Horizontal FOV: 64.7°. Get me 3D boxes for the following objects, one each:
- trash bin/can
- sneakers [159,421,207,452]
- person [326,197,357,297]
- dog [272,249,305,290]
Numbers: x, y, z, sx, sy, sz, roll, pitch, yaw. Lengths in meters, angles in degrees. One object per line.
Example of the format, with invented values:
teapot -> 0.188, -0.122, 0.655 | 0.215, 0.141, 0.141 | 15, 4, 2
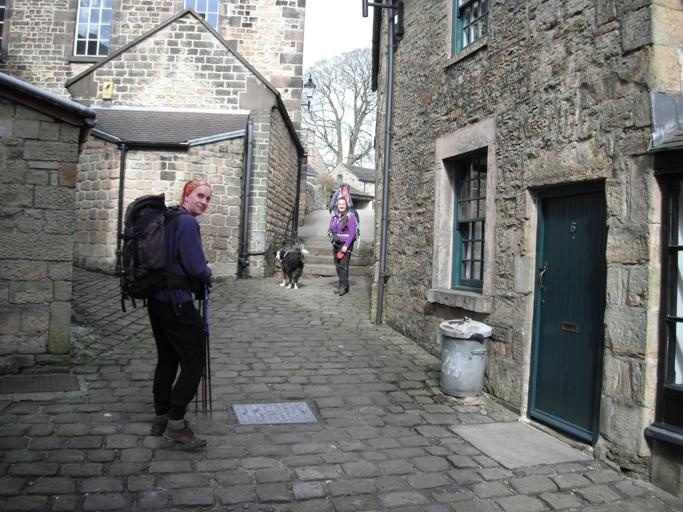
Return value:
trash bin/can -> 1.401, 1.224, 6.612 | 0.634, 0.861, 0.699 | 4, 2, -36
sneakers -> -1.380, 1.610, 4.924 | 0.503, 0.261, 0.177 | 12, 0, -6
person -> 0.029, -0.260, 11.649 | 0.631, 2.229, 0.888 | 3, 8, -1
dog -> -1.163, 0.215, 12.612 | 0.651, 0.935, 1.076 | 4, 8, 5
